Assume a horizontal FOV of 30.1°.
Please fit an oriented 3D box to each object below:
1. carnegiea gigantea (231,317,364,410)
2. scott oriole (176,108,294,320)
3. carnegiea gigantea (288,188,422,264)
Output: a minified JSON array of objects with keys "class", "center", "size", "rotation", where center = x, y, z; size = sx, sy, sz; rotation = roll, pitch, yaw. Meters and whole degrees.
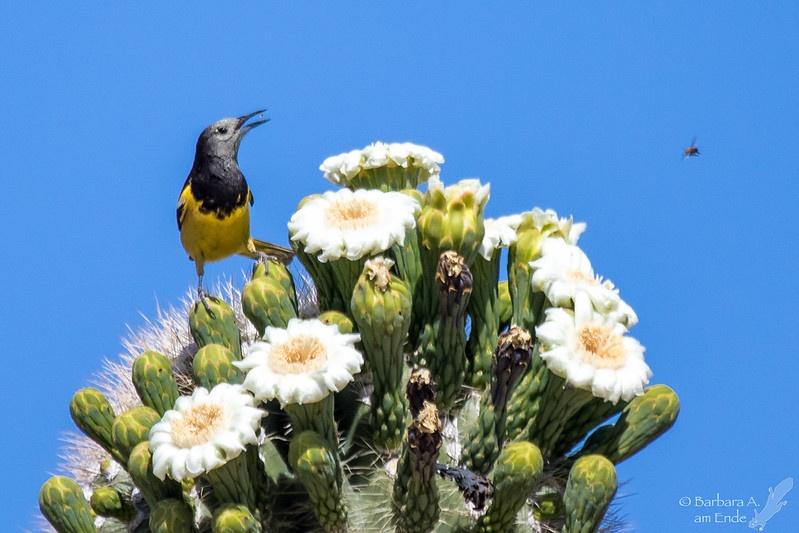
[{"class":"carnegiea gigantea","center":[-0.482,0.538,7.498],"size":[0.656,0.312,0.720],"rotation":[-14,17,-22]},{"class":"scott oriole","center":[-0.963,-0.201,8.492],"size":[0.618,1.127,1.251],"rotation":[-6,32,-7]},{"class":"carnegiea gigantea","center":[-0.246,-0.152,7.881],"size":[0.711,0.412,0.447],"rotation":[-2,32,0]}]
